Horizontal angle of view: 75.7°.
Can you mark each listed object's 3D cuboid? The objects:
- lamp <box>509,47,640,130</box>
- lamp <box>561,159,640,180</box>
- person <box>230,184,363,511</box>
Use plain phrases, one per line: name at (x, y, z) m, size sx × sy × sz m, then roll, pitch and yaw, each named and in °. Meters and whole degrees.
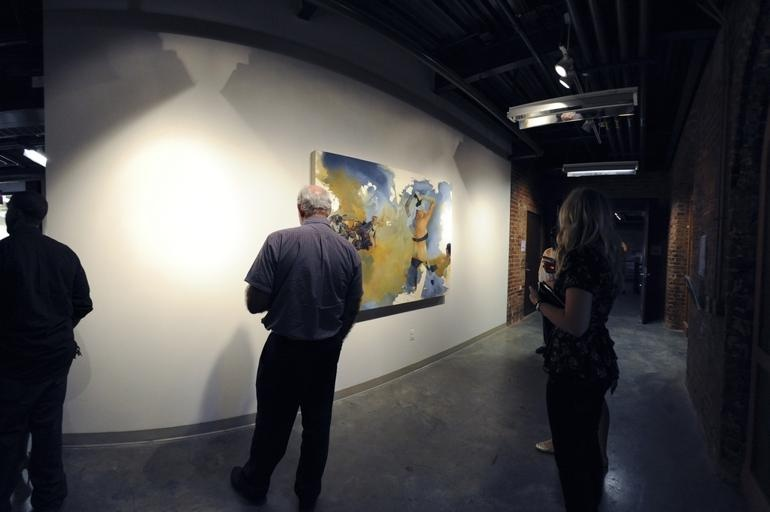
lamp at (2.106, -1.923, 5.567) m, size 1.361 × 0.871 × 0.415 m, roll -3°, pitch -25°, yaw 31°
lamp at (3.518, -1.473, 8.198) m, size 1.096 × 0.197 × 0.507 m, roll 5°, pitch 5°, yaw 19°
person at (-0.657, 0.731, 3.946) m, size 0.888 × 2.588 × 0.342 m, roll 2°, pitch 3°, yaw -15°
